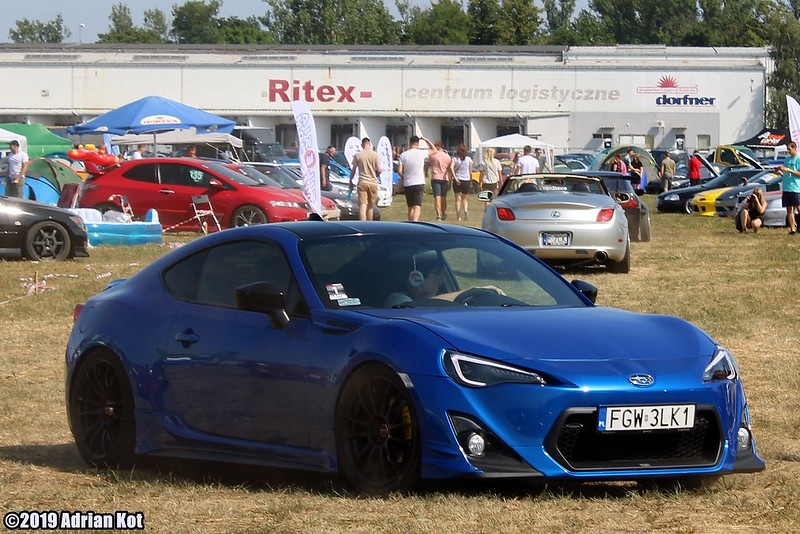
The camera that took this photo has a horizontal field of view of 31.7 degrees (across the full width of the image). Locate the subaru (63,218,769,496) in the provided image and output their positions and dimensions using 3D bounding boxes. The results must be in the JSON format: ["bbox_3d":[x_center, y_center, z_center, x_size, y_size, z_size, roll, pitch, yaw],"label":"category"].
[{"bbox_3d":[-0.158,0.953,11.212,6.246,2.404,2.796,0,2,5],"label":"subaru"}]

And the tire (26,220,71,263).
[{"bbox_3d":[-5.970,-0.427,23.678,0.533,0.585,0.192,-14,12,-34],"label":"tire"}]

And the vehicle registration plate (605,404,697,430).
[{"bbox_3d":[2.156,1.306,12.237,0.841,0.240,0.015,-3,11,-11],"label":"vehicle registration plate"}]

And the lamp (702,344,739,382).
[{"bbox_3d":[2.871,0.873,12.573,0.218,0.121,0.368,8,21,32],"label":"lamp"}]

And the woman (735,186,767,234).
[{"bbox_3d":[7.356,-1.080,29.384,0.429,1.151,0.561,9,-5,30],"label":"woman"}]

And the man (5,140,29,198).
[{"bbox_3d":[-8.735,-2.181,31.899,0.510,1.299,0.941,-4,11,-15],"label":"man"}]

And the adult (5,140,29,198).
[{"bbox_3d":[-8.738,-2.180,31.896,0.503,1.299,0.937,-3,11,-13],"label":"adult"}]

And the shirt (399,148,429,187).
[{"bbox_3d":[0.242,-2.141,30.346,0.517,0.837,1.029,-1,11,-1],"label":"shirt"}]

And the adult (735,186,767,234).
[{"bbox_3d":[7.352,-1.085,29.379,0.454,1.133,0.558,10,-3,36],"label":"adult"}]
